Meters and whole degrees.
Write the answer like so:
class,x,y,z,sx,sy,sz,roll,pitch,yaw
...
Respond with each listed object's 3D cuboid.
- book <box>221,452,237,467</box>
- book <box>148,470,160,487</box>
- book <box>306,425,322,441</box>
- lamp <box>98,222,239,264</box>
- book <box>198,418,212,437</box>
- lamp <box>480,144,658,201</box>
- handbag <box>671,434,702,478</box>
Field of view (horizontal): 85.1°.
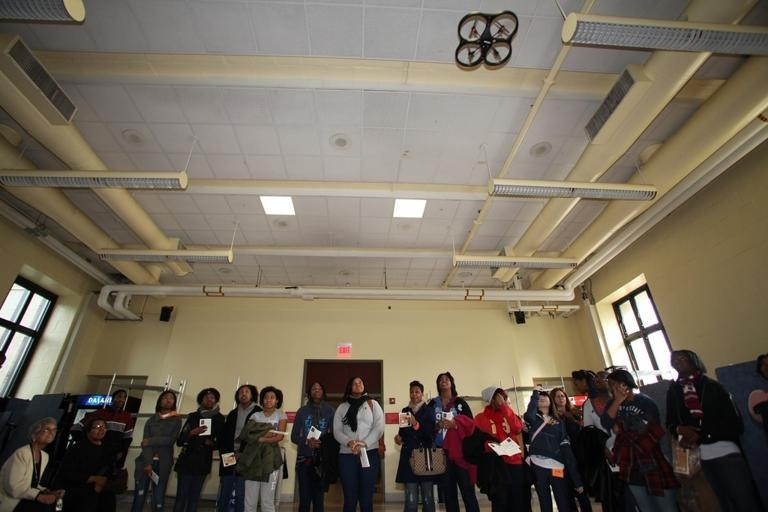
class,x,y,z,sx,sy,sz,roll,pitch,yaw
book,-2.288,2.966,6.172,0.223,0.159,0.184,9,-28,-17
book,-3.533,3.372,6.399,0.175,0.204,0.109,-7,-28,13
book,-0.957,2.430,5.788,0.195,0.173,0.123,4,-27,-7
lamp,-3.991,-0.253,7.732,2.482,0.756,0.277,1,-33,2
book,-2.716,2.577,6.383,0.210,0.249,0.218,11,-29,-21
lamp,2.317,-1.251,6.280,4.442,0.643,0.786,0,0,1
handbag,3.685,2.477,5.195,0.304,0.391,0.226,17,11,-3
